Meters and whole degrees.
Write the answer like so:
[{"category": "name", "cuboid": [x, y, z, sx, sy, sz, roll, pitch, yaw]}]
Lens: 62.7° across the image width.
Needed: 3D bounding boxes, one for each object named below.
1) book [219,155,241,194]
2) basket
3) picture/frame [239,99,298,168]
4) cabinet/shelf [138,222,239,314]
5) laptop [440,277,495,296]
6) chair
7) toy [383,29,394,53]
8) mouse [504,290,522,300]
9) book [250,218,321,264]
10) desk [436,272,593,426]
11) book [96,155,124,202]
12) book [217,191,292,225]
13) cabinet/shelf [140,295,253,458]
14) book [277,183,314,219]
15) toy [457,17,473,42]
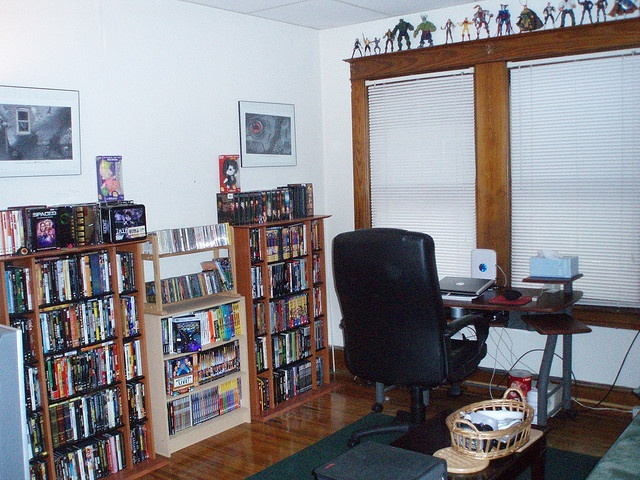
[{"category": "book", "cuboid": [-0.777, -0.573, 4.506, 0.050, 0.310, 0.243, 3, 10, 32]}, {"category": "basket", "cuboid": [0.825, 0.860, 2.485, 0.277, 0.156, 0.389, 3, 10, 41]}, {"category": "picture/frame", "cuboid": [-0.493, -0.971, 4.775, 0.014, 0.540, 0.648, 9, 14, 41]}, {"category": "cabinet/shelf", "cuboid": [-0.995, 0.215, 3.940, 0.295, 0.524, 0.632, 6, 11, 32]}, {"category": "laptop", "cuboid": [1.091, 0.350, 4.028, 0.237, 0.050, 0.247, 1, 7, 28]}, {"category": "chair", "cuboid": [0.639, 0.625, 3.600, 0.855, 1.417, 0.927, -1, 3, 27]}, {"category": "toy", "cuboid": [0.643, -1.863, 4.922, 0.097, 0.200, 0.030, 5, 11, 41]}, {"category": "mouse", "cuboid": [1.376, 0.391, 3.799, 0.071, 0.038, 0.087, 9, 4, 6]}, {"category": "book", "cuboid": [-0.288, 0.014, 4.512, 0.091, 0.312, 0.846, 5, 11, 39]}, {"category": "desk", "cuboid": [1.396, 0.901, 4.074, 0.711, 0.934, 1.350, -8, 7, -41]}, {"category": "book", "cuboid": [-1.492, -0.442, 3.748, 0.185, 0.317, 0.033, -2, 9, -8]}, {"category": "book", "cuboid": [-0.522, -0.279, 4.408, 0.710, 0.258, 0.163, -10, 11, -42]}, {"category": "cabinet/shelf", "cuboid": [-0.948, 1.010, 3.887, 0.361, 1.292, 1.049, 1, 5, 33]}, {"category": "book", "cuboid": [-0.173, -0.351, 4.737, 0.284, 0.396, 0.379, -4, 5, -38]}, {"category": "toy", "cuboid": [1.267, -1.834, 4.567, 0.096, 0.188, 0.032, 1, 9, 21]}]
